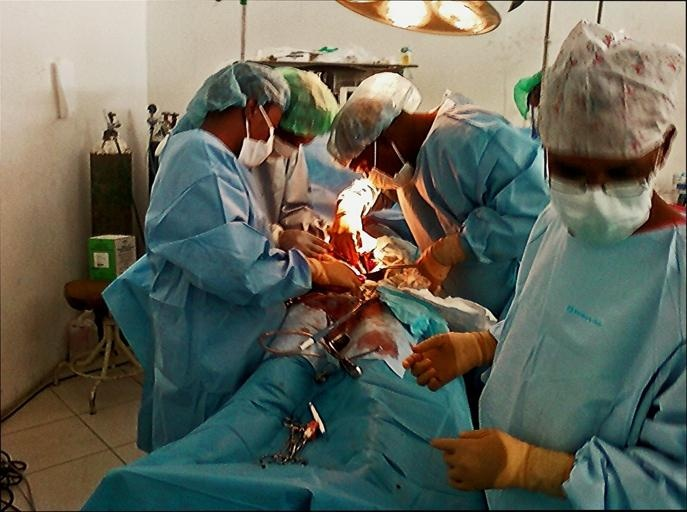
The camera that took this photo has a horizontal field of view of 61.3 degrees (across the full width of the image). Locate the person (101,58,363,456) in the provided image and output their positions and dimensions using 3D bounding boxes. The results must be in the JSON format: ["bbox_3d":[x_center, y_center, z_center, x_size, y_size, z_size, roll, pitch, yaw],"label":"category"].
[{"bbox_3d":[-0.490,0.092,2.552,0.925,1.753,0.868,6,13,-5],"label":"person"}]

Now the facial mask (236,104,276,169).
[{"bbox_3d":[-0.355,-0.504,2.407,0.122,0.214,0.191,-3,9,18],"label":"facial mask"}]

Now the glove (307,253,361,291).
[{"bbox_3d":[-0.040,0.079,2.402,0.181,0.079,0.139,20,5,18],"label":"glove"}]

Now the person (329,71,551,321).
[{"bbox_3d":[0.441,-0.236,2.732,0.960,1.244,0.725,-3,30,31],"label":"person"}]

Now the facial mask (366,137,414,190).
[{"bbox_3d":[0.205,-0.410,2.600,0.141,0.212,0.081,-12,3,16],"label":"facial mask"}]

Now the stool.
[{"bbox_3d":[-1.517,0.503,3.727,0.628,0.765,0.655,-4,10,-13],"label":"stool"}]

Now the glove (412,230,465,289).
[{"bbox_3d":[0.421,0.021,2.543,0.079,0.075,0.250,17,-28,-24],"label":"glove"}]
